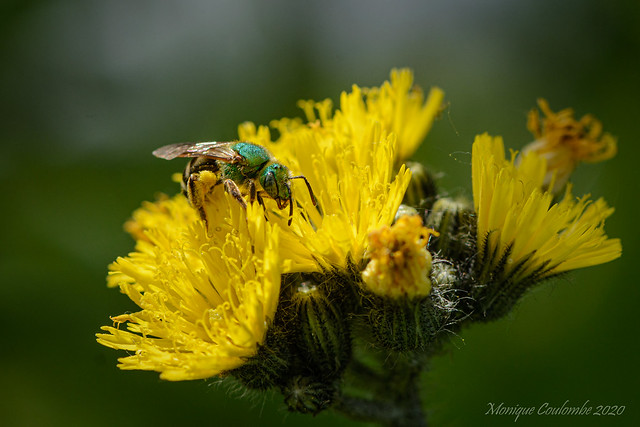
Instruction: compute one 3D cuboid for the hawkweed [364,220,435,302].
[{"bbox_3d":[0.449,0.216,3.454,0.343,0.425,0.318,9,29,18],"label":"hawkweed"}]
